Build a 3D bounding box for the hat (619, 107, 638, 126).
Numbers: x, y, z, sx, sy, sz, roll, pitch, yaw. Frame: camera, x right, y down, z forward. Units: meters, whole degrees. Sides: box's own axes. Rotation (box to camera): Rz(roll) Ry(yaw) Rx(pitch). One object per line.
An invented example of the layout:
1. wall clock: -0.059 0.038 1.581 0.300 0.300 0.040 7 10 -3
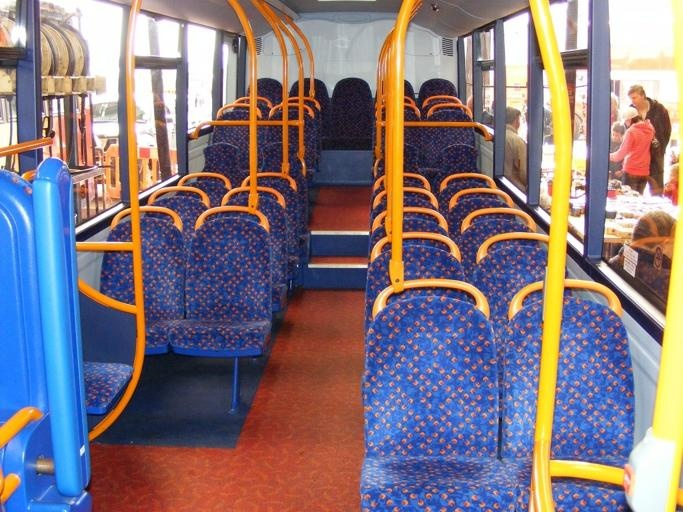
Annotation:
1. hat: 1.755 -0.841 3.556 0.056 0.083 0.079 0 22 4
